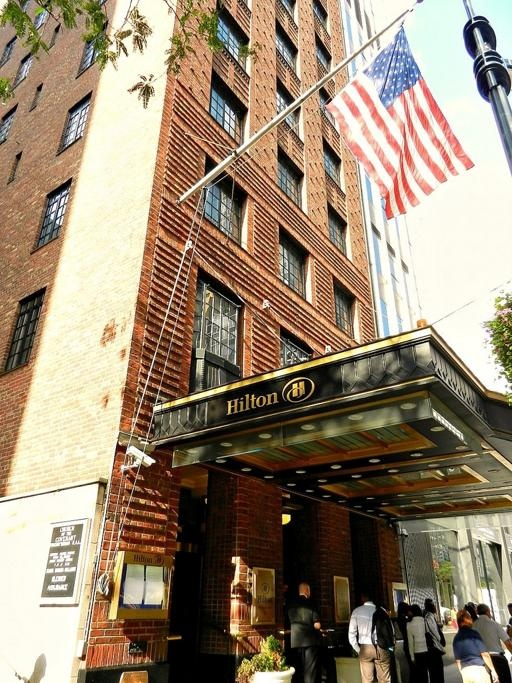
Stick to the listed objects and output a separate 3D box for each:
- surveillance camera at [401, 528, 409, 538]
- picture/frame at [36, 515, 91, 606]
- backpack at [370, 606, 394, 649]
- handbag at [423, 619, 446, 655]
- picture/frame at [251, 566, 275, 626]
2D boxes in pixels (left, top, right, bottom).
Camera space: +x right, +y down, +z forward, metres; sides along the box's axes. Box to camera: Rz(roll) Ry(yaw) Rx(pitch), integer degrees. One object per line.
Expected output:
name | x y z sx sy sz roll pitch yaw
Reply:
surveillance camera | 4.926 6.240 14.729 0.364 0.228 0.141 18 -33 -33
picture/frame | -2.566 2.972 6.030 0.905 1.155 0.078 -30 -42 34
backpack | 2.027 4.571 7.143 0.217 0.595 0.555 -15 -30 25
handbag | 3.256 5.317 8.120 0.183 0.575 0.543 -21 -33 35
picture/frame | 0.126 4.762 8.353 0.124 1.079 0.942 -11 -22 30
